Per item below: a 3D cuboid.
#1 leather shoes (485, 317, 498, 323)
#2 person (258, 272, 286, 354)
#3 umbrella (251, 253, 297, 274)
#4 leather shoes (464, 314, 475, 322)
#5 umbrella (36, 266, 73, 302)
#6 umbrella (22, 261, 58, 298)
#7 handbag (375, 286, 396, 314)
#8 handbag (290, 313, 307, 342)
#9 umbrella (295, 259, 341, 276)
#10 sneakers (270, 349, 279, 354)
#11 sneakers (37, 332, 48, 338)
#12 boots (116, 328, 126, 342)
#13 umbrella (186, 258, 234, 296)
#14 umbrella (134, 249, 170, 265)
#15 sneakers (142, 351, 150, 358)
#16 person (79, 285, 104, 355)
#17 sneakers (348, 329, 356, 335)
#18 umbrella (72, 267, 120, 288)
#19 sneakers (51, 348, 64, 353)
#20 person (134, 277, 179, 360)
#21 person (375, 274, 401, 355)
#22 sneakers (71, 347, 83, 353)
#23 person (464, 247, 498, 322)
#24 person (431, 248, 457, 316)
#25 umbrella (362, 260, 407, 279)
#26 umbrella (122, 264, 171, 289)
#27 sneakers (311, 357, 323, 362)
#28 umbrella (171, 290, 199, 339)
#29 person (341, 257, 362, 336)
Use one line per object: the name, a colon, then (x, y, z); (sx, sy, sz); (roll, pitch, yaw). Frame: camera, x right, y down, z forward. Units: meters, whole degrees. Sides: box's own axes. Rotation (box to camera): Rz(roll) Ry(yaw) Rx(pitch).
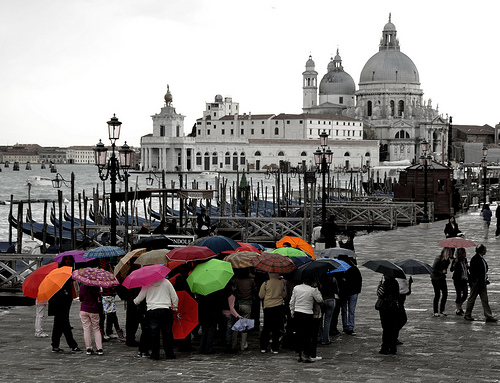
leather shoes: (4.385, 2.274, 19.281); (0.245, 0.104, 0.115); (1, -3, -31)
person: (0.409, 1.976, 17.627); (0.436, 1.292, 0.250); (-1, -3, 1)
umbrella: (0.399, 1.178, 17.607); (0.415, 0.125, 0.395); (-2, 12, -18)
leather shoes: (4.001, 2.274, 19.503); (0.173, 0.065, 0.085); (-6, -3, 41)
umbrella: (-3.181, 1.500, 17.831); (0.180, 0.550, 0.537); (45, 2, -27)
umbrella: (-3.576, 1.567, 18.647); (0.610, 0.225, 0.601); (-37, 23, 6)
handbag: (2.246, 1.737, 17.626); (0.481, 0.435, 0.252); (-2, 0, 40)
handbag: (0.794, 2.149, 17.181); (0.130, 0.466, 0.298); (0, -3, -19)
umbrella: (1.126, 1.252, 17.563); (0.495, 0.275, 0.853); (-2, -3, 27)
sneakers: (0.444, 2.588, 17.543); (0.119, 0.063, 0.108); (-1, -3, 1)
sneakers: (-3.542, 2.460, 18.604); (0.207, 0.081, 0.077); (-1, 1, -6)
boots: (-2.202, 2.457, 18.622); (0.261, 0.239, 0.123); (-2, 0, 16)
umbrella: (-0.617, 1.396, 17.575); (0.756, 0.554, 0.406); (-1, -3, 2)
umbrella: (-1.607, 1.112, 18.136); (0.587, 0.245, 0.546); (-1, -3, -6)
sneakers: (-1.625, 2.611, 17.345); (0.128, 0.080, 0.066); (5, -7, -45)
person: (-2.553, 2.080, 17.591); (0.462, 1.113, 0.396); (-2, -3, 19)
sneakers: (1.787, 2.399, 18.480); (0.063, 0.066, 0.163); (1, -7, -12)
umbrella: (-2.480, 1.407, 17.576); (0.754, 0.316, 0.490); (-1, -3, -8)
sneakers: (-3.090, 2.553, 17.550); (0.192, 0.077, 0.075); (-5, 9, -44)
person: (-1.458, 2.034, 17.343); (0.661, 1.278, 0.344); (-1, -3, -5)
person: (2.276, 1.980, 17.542); (0.382, 1.253, 0.553); (-1, -3, 7)
sneakers: (-2.781, 2.570, 17.581); (0.193, 0.081, 0.072); (1, 2, 6)
person: (4.210, 1.650, 19.569); (0.586, 1.381, 0.793); (-2, -3, 11)
person: (3.619, 1.669, 20.056); (0.415, 1.225, 1.474); (-1, -3, 11)
umbrella: (2.247, 1.254, 17.821); (0.410, 0.135, 0.398); (6, 15, -39)
umbrella: (-1.629, 1.359, 17.318); (0.745, 0.355, 0.373); (-1, -3, -7)
sneakers: (1.080, 2.615, 16.988); (0.175, 0.078, 0.057); (-6, 9, -18)
umbrella: (-1.033, 2.045, 17.778); (0.688, 0.617, 0.573); (-4, -17, 3)
person: (1.789, 1.876, 18.685); (0.352, 1.164, 0.309); (-1, -3, 5)
